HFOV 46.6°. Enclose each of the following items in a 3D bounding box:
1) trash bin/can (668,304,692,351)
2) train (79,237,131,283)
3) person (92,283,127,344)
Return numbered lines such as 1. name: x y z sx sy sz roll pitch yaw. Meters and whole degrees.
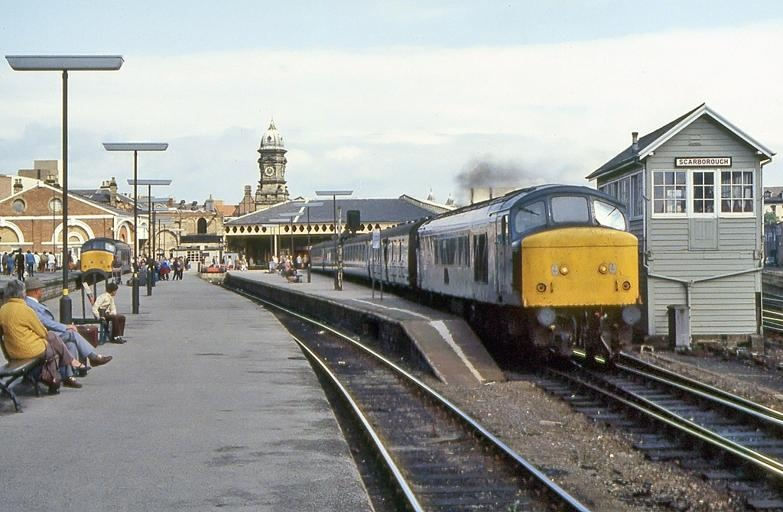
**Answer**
1. trash bin/can: 9.204 2.341 29.203 0.472 1.243 1.301 -1 -4 5
2. train: -18.486 0.293 58.774 2.886 3.262 5.928 2 -1 -14
3. person: -7.183 1.448 23.219 0.778 1.552 1.168 0 -1 -7
